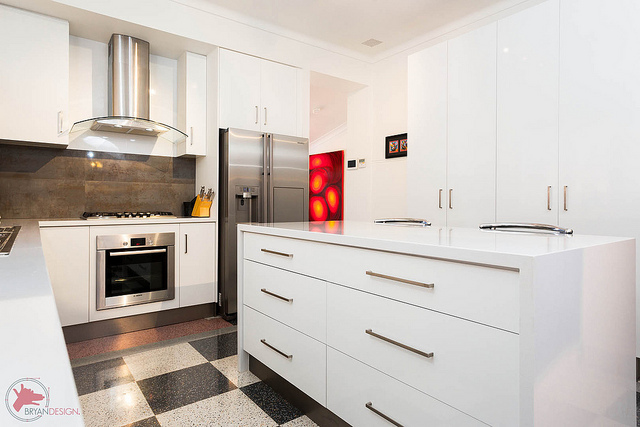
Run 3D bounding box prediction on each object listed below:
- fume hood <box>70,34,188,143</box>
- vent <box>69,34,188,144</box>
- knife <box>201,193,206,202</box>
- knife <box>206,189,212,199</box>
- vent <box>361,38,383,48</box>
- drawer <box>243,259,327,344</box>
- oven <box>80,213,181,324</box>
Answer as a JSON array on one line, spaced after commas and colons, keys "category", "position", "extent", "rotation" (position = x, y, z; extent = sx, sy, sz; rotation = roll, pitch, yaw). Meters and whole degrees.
[{"category": "fume hood", "position": [-1.875, -1.216, 4.059], "extent": [0.991, 0.982, 0.429], "rotation": [3, 5, -31]}, {"category": "vent", "position": [-1.874, -1.208, 4.064], "extent": [0.992, 0.985, 0.428], "rotation": [3, 5, -31]}, {"category": "knife", "position": [-1.232, -0.168, 4.381], "extent": [0.038, 0.086, 0.079], "rotation": [0, 10, -1]}, {"category": "knife", "position": [-1.167, -0.198, 4.343], "extent": [0.033, 0.120, 0.028], "rotation": [15, 4, 24]}, {"category": "vent", "position": [0.627, -2.066, 4.997], "extent": [0.185, 0.049, 0.174], "rotation": [-6, 11, -32]}, {"category": "drawer", "position": [-0.078, 0.531, 2.908], "extent": [0.844, 0.358, 0.644], "rotation": [10, 10, 43]}, {"category": "oven", "position": [-1.851, 0.467, 4.020], "extent": [0.759, 0.916, 0.664], "rotation": [-1, 11, -29]}]
